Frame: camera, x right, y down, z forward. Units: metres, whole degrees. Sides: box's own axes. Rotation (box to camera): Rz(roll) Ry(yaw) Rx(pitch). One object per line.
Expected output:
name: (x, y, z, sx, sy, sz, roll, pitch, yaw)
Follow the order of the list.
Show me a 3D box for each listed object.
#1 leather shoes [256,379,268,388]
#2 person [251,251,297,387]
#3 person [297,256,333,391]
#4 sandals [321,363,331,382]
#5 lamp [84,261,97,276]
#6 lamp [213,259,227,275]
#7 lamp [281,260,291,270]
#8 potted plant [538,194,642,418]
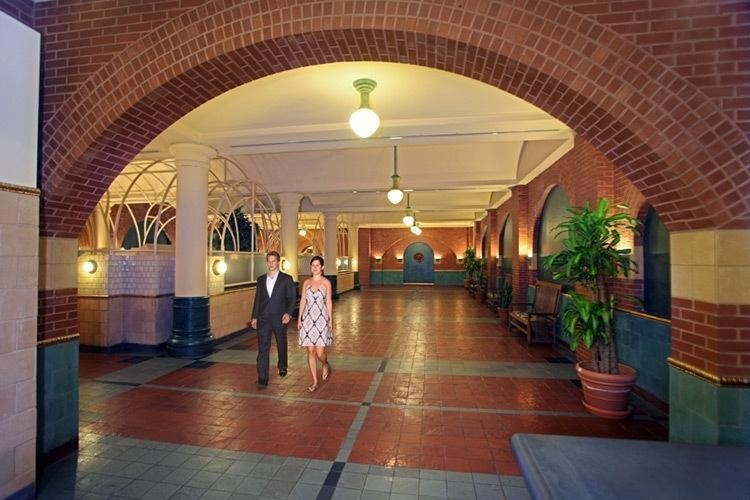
leather shoes: (-1.683, 2.013, 6.936, 0.088, 0.171, 0.178, -13, -44, 16)
person: (-1.486, 1.031, 6.882, 0.611, 2.041, 0.350, -2, 7, -12)
person: (-0.920, 1.070, 7.207, 0.506, 2.038, 1.190, -1, 7, -8)
sandals: (-0.766, 1.922, 7.286, 0.091, 0.296, 0.104, 1, -22, -7)
lamp: (-5.361, 0.331, 8.773, 0.224, 0.275, 0.104, -4, 8, -30)
lamp: (-3.262, 0.373, 9.770, 0.177, 0.379, 0.367, 0, 7, 3)
lamp: (-2.379, 0.400, 12.378, 0.119, 0.228, 0.226, -15, 6, 31)
potted plant: (3.306, 0.677, 7.016, 1.103, 2.914, 2.683, 3, 8, 26)
